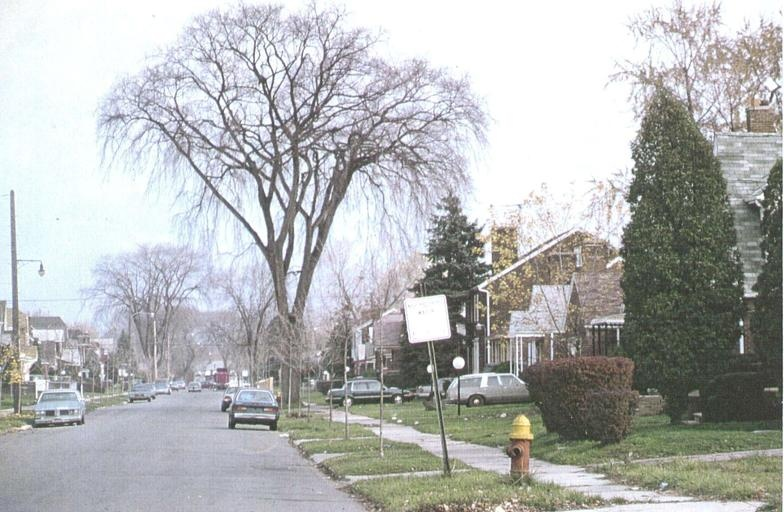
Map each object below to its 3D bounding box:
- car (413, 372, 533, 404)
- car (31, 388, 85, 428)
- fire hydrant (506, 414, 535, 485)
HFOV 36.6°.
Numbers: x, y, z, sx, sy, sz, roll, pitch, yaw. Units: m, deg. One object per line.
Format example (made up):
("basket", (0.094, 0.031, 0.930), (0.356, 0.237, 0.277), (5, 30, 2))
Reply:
("car", (4.982, 6.602, 61.860), (4.772, 2.344, 2.302), (0, -8, -7))
("car", (-16.535, 7.542, 58.707), (2.410, 1.956, 1.817), (1, -11, -21))
("fire hydrant", (3.890, 5.834, 35.977), (0.723, 1.942, 0.897), (-4, -9, 6))
